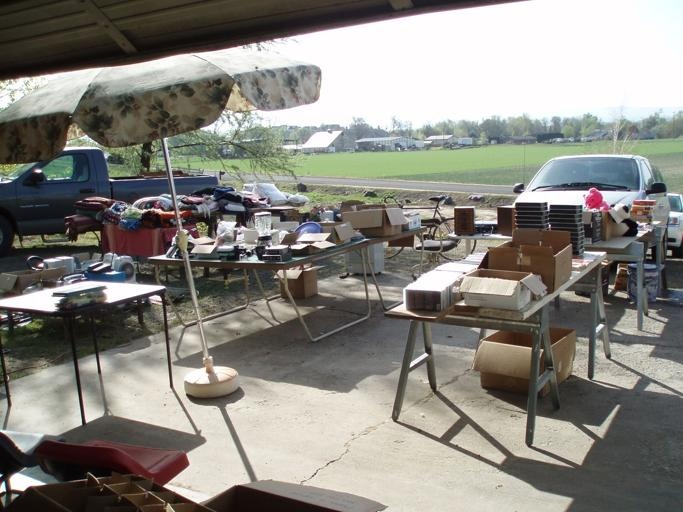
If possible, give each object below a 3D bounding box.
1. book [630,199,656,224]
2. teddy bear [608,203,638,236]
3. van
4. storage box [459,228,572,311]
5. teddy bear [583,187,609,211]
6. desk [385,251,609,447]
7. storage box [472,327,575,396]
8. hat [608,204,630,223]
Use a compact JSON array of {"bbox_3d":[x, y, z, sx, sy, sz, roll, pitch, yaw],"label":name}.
[{"bbox_3d":[3.789,-0.578,6.401,0.336,0.294,0.445,3,8,40],"label":"book"},{"bbox_3d":[3.259,-0.414,5.878,0.367,0.339,0.408,-9,16,24],"label":"teddy bear"},{"bbox_3d":[3.993,-1.192,8.028,1.835,0.986,2.878,3,3,39],"label":"van"},{"bbox_3d":[1.553,0.079,4.128,0.725,0.345,0.726,8,20,36],"label":"storage box"},{"bbox_3d":[2.905,-0.643,5.761,0.249,0.239,0.520,3,14,24],"label":"teddy bear"},{"bbox_3d":[1.449,0.756,4.425,1.178,0.661,1.873,-4,0,35],"label":"desk"},{"bbox_3d":[1.586,0.929,4.631,0.888,0.300,0.707,0,8,33],"label":"storage box"},{"bbox_3d":[3.201,-0.500,5.865,0.259,0.118,0.288,7,16,22],"label":"hat"}]
